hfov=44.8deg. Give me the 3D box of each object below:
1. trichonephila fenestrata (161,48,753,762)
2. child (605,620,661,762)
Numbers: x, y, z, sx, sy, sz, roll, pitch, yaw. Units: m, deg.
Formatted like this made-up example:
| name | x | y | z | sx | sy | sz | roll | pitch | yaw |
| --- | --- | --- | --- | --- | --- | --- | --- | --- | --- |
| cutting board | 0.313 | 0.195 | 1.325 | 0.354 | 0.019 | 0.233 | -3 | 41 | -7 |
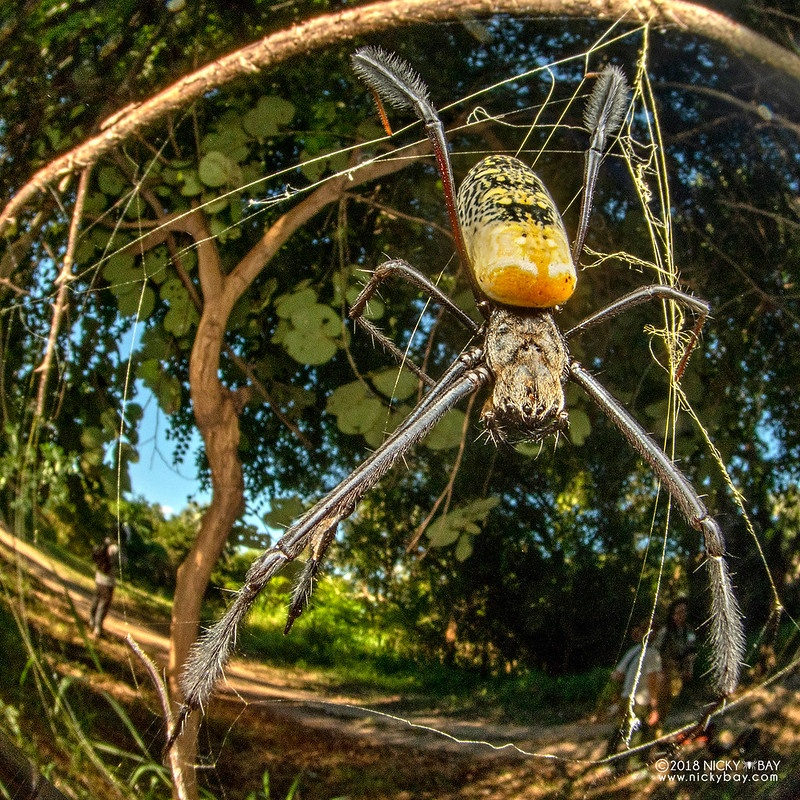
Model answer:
| name | x | y | z | sx | sy | sz | roll | pitch | yaw |
| --- | --- | --- | --- | --- | --- | --- | --- | --- | --- |
| trichonephila fenestrata | 0.110 | 0.005 | 1.914 | 1.184 | 1.331 | 0.774 | -9 | 22 | -12 |
| child | 0.559 | 0.699 | 2.312 | 0.124 | 0.379 | 0.123 | -2 | 9 | -39 |
